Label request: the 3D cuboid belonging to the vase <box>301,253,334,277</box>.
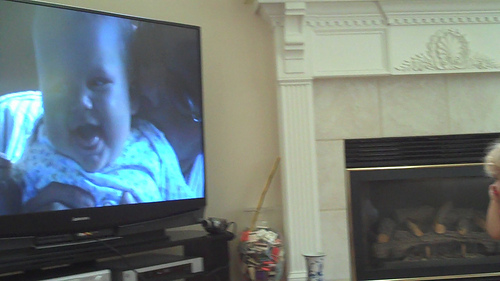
[{"bbox_3d":[0.523,0.997,4.006,0.282,0.275,0.257,0,-6,-1],"label":"vase"}]
